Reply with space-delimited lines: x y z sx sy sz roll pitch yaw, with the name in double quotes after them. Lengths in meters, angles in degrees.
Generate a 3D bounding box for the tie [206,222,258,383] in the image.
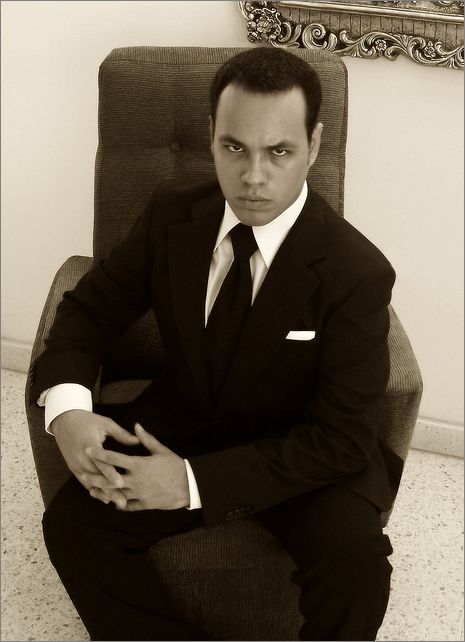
-0.005 -0.020 1.155 0.067 0.307 0.081 9 9 12 "tie"
